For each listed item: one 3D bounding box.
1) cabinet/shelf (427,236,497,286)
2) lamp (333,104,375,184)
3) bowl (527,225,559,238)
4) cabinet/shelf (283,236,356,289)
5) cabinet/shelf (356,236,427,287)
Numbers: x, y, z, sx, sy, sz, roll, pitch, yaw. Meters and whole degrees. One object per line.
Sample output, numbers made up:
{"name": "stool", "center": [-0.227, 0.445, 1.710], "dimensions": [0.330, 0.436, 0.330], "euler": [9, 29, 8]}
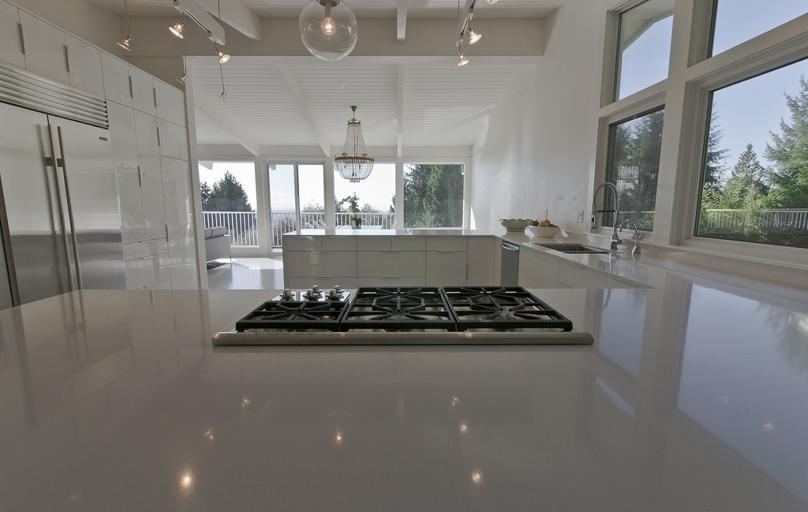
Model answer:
{"name": "cabinet/shelf", "center": [0.620, 0.031, 5.220], "dimensions": [0.911, 0.576, 0.502], "euler": [-1, 11, -11]}
{"name": "lamp", "center": [-0.720, -1.620, 6.369], "dimensions": [0.535, 0.958, 0.535], "euler": [16, 23, 37]}
{"name": "bowl", "center": [1.417, -0.244, 4.580], "dimensions": [0.266, 0.136, 0.289], "euler": [0, 8, 0]}
{"name": "cabinet/shelf", "center": [-1.004, 0.156, 5.118], "dimensions": [0.828, 0.734, 0.465], "euler": [0, -4, -30]}
{"name": "cabinet/shelf", "center": [-0.257, 0.043, 5.142], "dimensions": [0.897, 0.592, 0.509], "euler": [0, 2, -33]}
